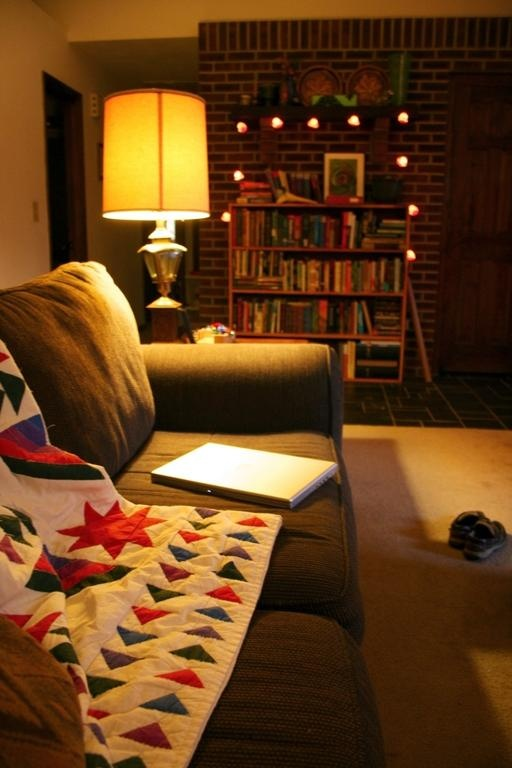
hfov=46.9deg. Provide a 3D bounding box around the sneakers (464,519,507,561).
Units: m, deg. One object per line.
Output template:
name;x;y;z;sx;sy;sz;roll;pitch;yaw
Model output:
sneakers;0.699;0.465;1.811;0.078;0.075;0.163;1;15;32

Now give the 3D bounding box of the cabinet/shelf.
cabinet/shelf;0.432;-0.635;3.875;1.333;1.286;0.398;0;6;5

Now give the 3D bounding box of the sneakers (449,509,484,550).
sneakers;0.662;0.458;1.864;0.062;0.068;0.172;2;18;28
